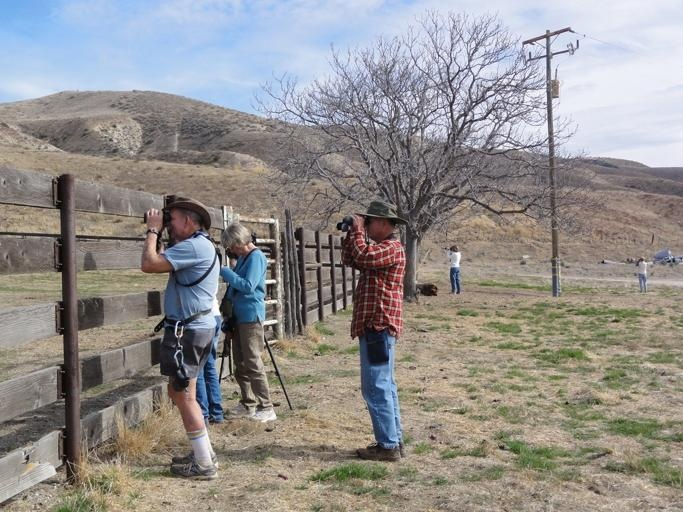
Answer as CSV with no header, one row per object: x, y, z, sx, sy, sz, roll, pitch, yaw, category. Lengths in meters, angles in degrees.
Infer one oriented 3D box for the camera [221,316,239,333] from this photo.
-1.476,0.911,8.594,0.177,0.197,0.225,5,10,1,camera

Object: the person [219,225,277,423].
-1.238,0.890,8.631,0.663,2.646,0.832,-3,2,-10,person

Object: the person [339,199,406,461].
0.419,0.874,7.646,0.725,3.064,0.470,-3,2,-6,person

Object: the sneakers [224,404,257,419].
-1.366,2.097,8.783,0.382,0.133,0.180,4,-6,3,sneakers

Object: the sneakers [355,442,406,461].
0.444,2.322,7.721,0.529,0.197,0.199,3,-7,5,sneakers

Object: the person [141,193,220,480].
-1.681,0.892,6.993,0.826,3.061,0.514,-3,2,-18,person

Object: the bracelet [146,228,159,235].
-1.976,-0.259,6.816,0.098,0.052,0.084,4,-4,-23,bracelet

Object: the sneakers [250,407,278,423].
-1.028,2.108,8.627,0.144,0.146,0.359,-1,-16,28,sneakers

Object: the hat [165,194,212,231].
-1.640,-0.513,7.095,0.599,0.179,0.509,23,-13,-18,hat

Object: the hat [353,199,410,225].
0.490,-0.516,7.615,0.512,0.160,0.435,9,2,-18,hat
